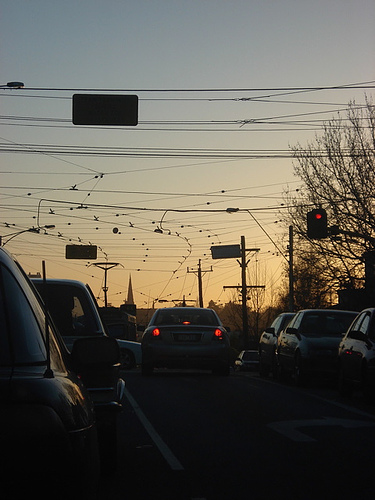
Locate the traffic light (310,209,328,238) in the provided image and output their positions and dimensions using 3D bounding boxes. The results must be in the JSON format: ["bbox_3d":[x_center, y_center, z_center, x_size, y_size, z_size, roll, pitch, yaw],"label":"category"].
[{"bbox_3d":[4.556,-0.928,22.737,0.553,0.986,0.381,-2,2,8],"label":"traffic light"}]

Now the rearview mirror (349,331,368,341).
[{"bbox_3d":[3.240,1.599,12.361,0.244,0.059,0.248,10,-3,-38],"label":"rearview mirror"}]

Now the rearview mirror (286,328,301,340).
[{"bbox_3d":[2.570,1.987,15.775,0.346,0.320,0.105,-12,-17,42],"label":"rearview mirror"}]

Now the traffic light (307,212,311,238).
[{"bbox_3d":[4.239,-0.891,22.766,0.072,0.844,0.307,-2,1,3],"label":"traffic light"}]

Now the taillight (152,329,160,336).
[{"bbox_3d":[-0.797,2.065,16.626,0.226,0.167,0.061,-2,2,34],"label":"taillight"}]

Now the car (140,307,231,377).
[{"bbox_3d":[-0.056,2.399,18.230,1.604,1.138,3.664,0,-4,0],"label":"car"}]
